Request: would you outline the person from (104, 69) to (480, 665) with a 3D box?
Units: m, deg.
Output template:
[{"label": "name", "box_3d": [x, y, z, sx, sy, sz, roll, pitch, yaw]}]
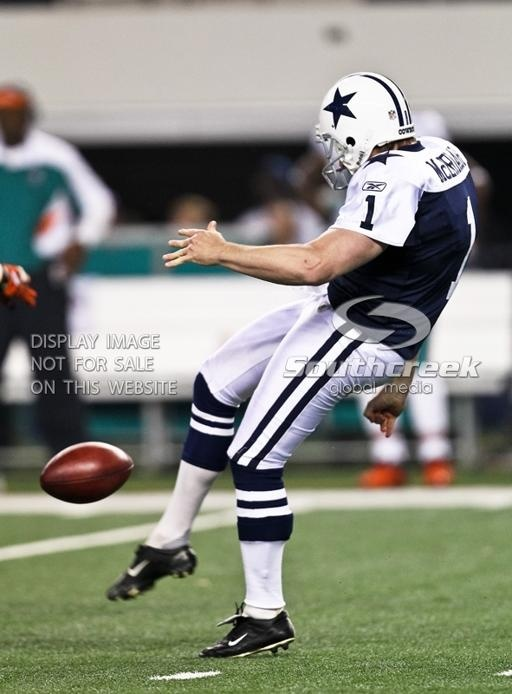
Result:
[{"label": "person", "box_3d": [0.082, 0.053, 2.438, 0.807, 1.486, 0.610, 4, 9, 32]}]

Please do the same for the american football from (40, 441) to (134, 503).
[{"label": "american football", "box_3d": [-0.453, 0.318, 2.438, 0.265, 0.131, 0.178, -6, 7, -38]}]

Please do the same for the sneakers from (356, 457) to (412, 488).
[{"label": "sneakers", "box_3d": [0.580, 0.569, 4.319, 0.142, 0.060, 0.180, 0, 1, 43]}]

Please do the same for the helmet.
[{"label": "helmet", "box_3d": [0.260, -0.572, 2.454, 0.316, 0.256, 0.244, 7, 16, 32]}]

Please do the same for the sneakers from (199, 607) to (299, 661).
[{"label": "sneakers", "box_3d": [-0.013, 0.732, 2.410, 0.293, 0.124, 0.085, -4, -11, -6]}]
